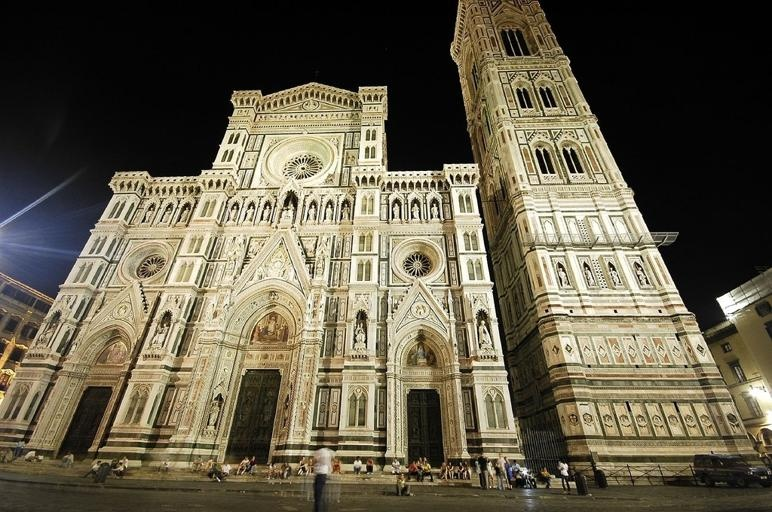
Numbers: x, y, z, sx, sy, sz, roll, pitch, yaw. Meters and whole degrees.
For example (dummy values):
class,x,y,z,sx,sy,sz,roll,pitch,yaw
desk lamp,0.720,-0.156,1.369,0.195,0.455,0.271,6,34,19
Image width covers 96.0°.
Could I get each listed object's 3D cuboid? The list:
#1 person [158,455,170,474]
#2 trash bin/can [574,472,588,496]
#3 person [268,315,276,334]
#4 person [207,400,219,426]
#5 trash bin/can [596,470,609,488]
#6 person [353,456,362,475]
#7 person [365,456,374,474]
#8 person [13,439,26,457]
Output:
class,x,y,z,sx,sy,sz,roll,pitch,yaw
person,-12.742,12.166,20.112,0.561,0.754,0.934,16,-34,-23
trash bin/can,9.307,10.870,16.572,0.525,0.916,0.782,-13,-34,21
person,-8.335,5.134,25.466,0.612,1.285,0.225,6,-33,-7
person,-10.990,10.178,22.247,0.548,1.540,0.276,14,-35,-19
trash bin/can,11.317,11.763,18.279,0.463,0.817,0.591,-9,-33,15
person,-1.612,12.220,20.168,0.514,0.805,0.731,4,-31,-4
person,-0.909,12.244,20.177,0.454,0.769,0.810,1,-31,1
person,-22.545,11.898,21.387,0.420,0.978,1.166,26,-39,-34
